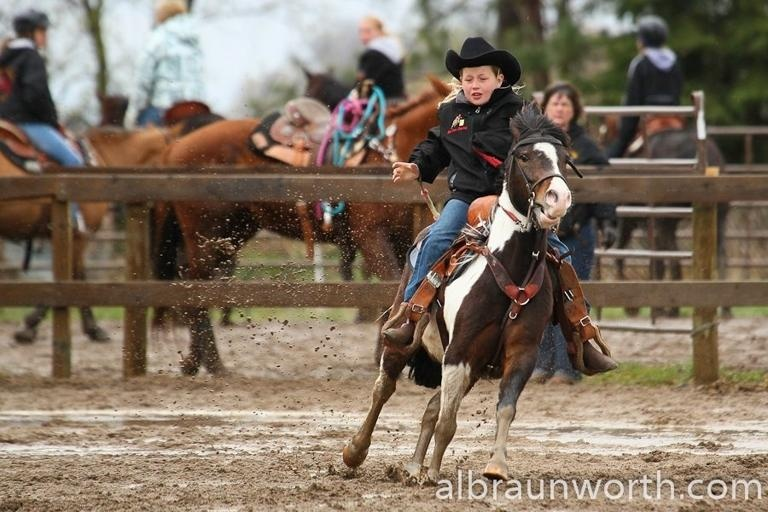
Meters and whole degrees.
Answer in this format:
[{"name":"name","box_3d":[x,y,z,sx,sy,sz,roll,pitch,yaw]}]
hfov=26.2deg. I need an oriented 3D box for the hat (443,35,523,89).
[{"name":"hat","box_3d":[1.035,-2.098,17.378,0.564,0.251,0.649,1,-27,19]}]
